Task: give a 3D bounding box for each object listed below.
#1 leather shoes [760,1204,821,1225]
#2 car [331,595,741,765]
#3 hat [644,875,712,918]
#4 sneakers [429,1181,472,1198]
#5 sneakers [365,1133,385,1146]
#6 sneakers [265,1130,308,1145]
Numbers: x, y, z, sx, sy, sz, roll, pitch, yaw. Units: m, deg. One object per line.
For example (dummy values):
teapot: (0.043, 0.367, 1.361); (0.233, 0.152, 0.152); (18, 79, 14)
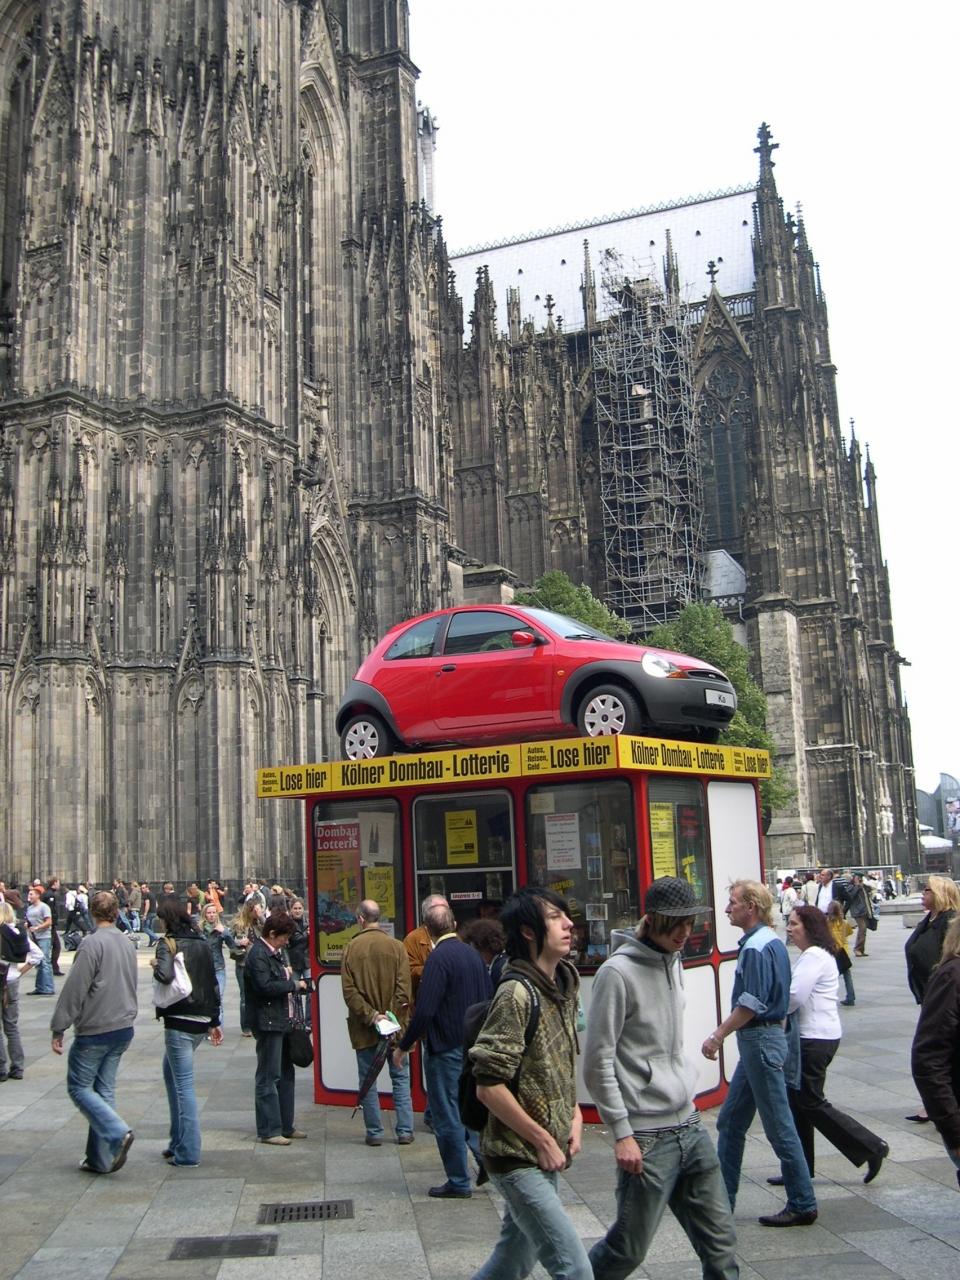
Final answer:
leather shoes: (1.415, 2.646, 6.003); (0.290, 0.118, 0.095); (0, -23, 10)
car: (0.463, 0.459, 10.594); (2.742, 1.130, 1.486); (-10, -13, 27)
hat: (0.605, 0.854, 4.228); (0.152, 0.117, 0.208); (5, -18, -35)
sneakers: (-0.163, 2.824, 6.705); (0.210, 0.083, 0.081); (3, -12, 14)
sneakers: (-0.659, 3.119, 8.115); (0.056, 0.057, 0.138); (0, -7, 1)
sneakers: (-1.226, 3.144, 8.177); (0.275, 0.125, 0.089); (-21, -22, 32)
